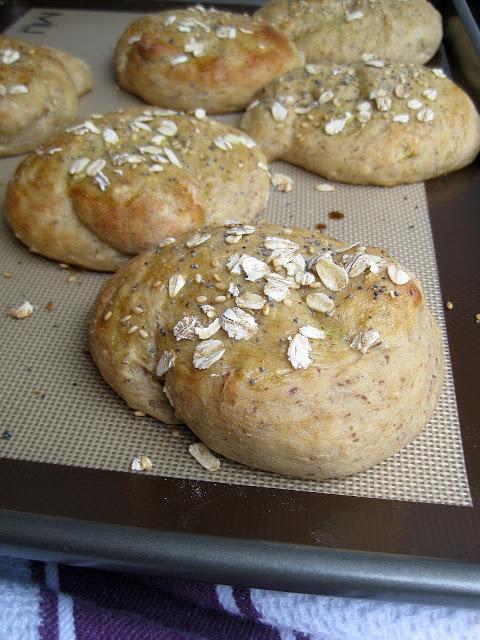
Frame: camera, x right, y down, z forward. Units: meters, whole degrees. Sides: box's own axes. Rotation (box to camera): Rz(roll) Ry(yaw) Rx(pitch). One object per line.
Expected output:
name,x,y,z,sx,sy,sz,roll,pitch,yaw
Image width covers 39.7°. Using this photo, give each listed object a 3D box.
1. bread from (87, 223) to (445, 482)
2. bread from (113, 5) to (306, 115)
bread,0.058,0.032,1.337,0.670,0.279,0.514,33,57,25
bread,-0.099,-0.783,1.979,0.488,0.145,0.360,16,36,23
